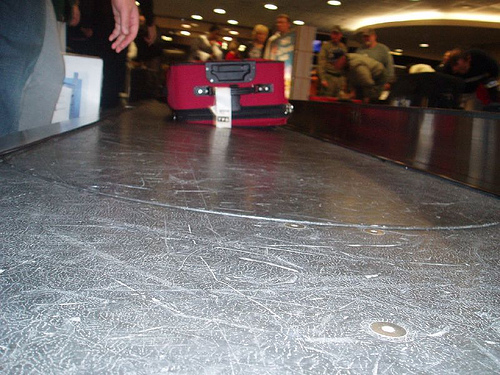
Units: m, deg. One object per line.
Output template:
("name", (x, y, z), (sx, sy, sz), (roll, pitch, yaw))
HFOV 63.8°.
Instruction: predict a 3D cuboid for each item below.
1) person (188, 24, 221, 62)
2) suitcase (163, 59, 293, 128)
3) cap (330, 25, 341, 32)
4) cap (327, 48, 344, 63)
("person", (-0.652, -2.205, 6.083), (0.425, 0.580, 1.030), (3, 14, -5))
("suitcase", (-0.143, -0.572, 2.441), (0.702, 0.237, 0.575), (0, 12, 2))
("cap", (1.381, -2.543, 6.415), (0.115, 0.127, 0.279), (4, 13, -1))
("cap", (1.238, -1.923, 5.799), (0.339, 0.141, 0.268), (-4, 23, 1))
